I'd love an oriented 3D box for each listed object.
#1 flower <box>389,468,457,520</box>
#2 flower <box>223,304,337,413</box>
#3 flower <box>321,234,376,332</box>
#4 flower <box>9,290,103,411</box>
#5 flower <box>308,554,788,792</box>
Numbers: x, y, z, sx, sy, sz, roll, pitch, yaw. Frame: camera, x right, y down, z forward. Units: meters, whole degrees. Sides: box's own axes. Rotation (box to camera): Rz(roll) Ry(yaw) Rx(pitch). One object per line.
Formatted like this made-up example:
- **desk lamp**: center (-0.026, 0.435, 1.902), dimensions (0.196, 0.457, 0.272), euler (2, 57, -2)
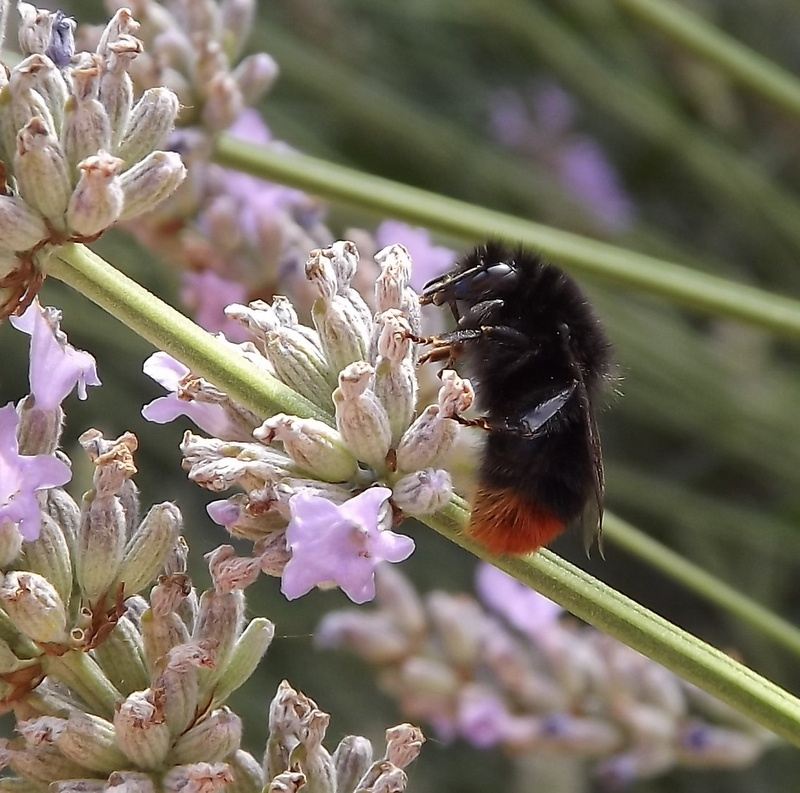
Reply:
- **flower**: center (0.022, 0.107, 1.281), dimensions (0.058, 0.045, 0.024), euler (-2, -21, 46)
- **flower**: center (-0.131, -0.039, 1.348), dimensions (0.135, 0.045, 0.051), euler (52, 26, 19)
- **flower**: center (-0.070, -0.139, 1.427), dimensions (0.045, 0.046, 0.120), euler (2, 55, -54)
- **flower**: center (-0.399, -0.046, 1.417), dimensions (0.049, 0.100, 0.128), euler (-94, 165, -68)
- **flower**: center (0.255, 0.374, 1.943), dimensions (0.500, 0.153, 0.381), euler (21, -12, 14)
